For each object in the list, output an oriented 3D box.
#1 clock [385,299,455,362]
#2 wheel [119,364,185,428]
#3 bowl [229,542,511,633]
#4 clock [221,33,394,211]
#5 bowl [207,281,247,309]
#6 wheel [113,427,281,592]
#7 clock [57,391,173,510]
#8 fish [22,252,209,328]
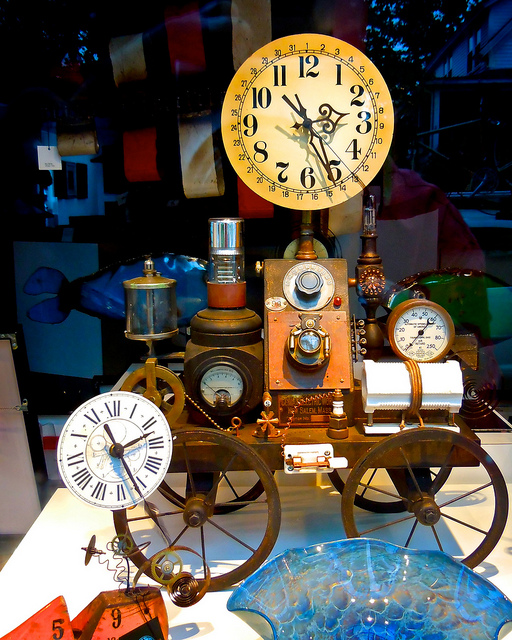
[{"bbox_3d":[0.673,0.051,2.331,0.106,0.294,0.256,-1,-89,-42],"label":"clock"},{"bbox_3d":[-0.390,0.299,2.280,0.260,0.233,0.234,-1,-98,-22],"label":"wheel"},{"bbox_3d":[0.336,0.863,1.838,0.817,0.292,0.178,0,-63,2],"label":"bowl"},{"bbox_3d":[0.195,-0.755,2.261,0.654,0.220,0.626,0,-59,2],"label":"clock"},{"bbox_3d":[-0.123,-0.121,2.410,0.152,0.195,0.112,3,-62,2],"label":"bowl"},{"bbox_3d":[-0.056,0.645,1.929,0.682,0.133,0.544,5,-95,5],"label":"wheel"},{"bbox_3d":[-0.466,0.427,1.940,0.359,0.239,0.327,3,-60,1],"label":"clock"},{"bbox_3d":[-0.737,-0.157,3.021,0.982,0.153,0.378,0,-59,2],"label":"fish"}]
